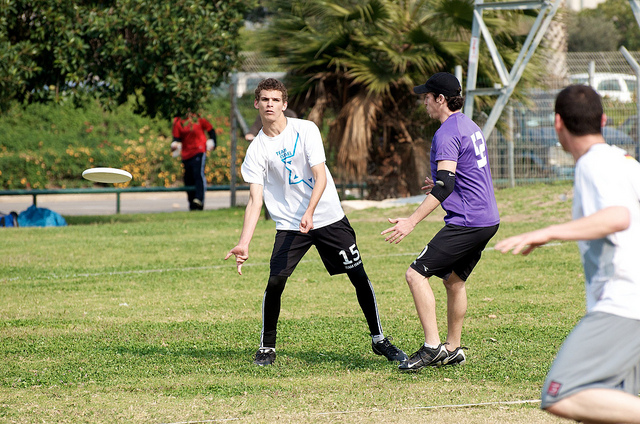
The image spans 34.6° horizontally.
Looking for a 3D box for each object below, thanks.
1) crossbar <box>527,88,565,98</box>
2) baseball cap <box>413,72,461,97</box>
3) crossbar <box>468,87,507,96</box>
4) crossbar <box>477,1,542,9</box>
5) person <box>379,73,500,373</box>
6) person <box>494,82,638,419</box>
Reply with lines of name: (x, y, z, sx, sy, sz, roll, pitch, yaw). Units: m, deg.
crossbar: (4.855, -2.578, 22.146, 0.408, 0.214, 0.862, -4, 5, -34)
baseball cap: (1.514, -1.638, 13.081, 0.463, 0.260, 0.315, 10, 11, 9)
crossbar: (3.367, -2.442, 20.556, 0.772, 0.131, 0.334, 0, 4, 7)
crossbar: (3.653, -4.041, 19.849, 1.282, 0.107, 0.329, 1, 5, 22)
person: (1.599, 0.118, 12.946, 1.274, 3.756, 0.463, -2, 4, -18)
person: (2.925, 0.420, 11.236, 1.076, 3.629, 0.609, 0, 4, 12)
